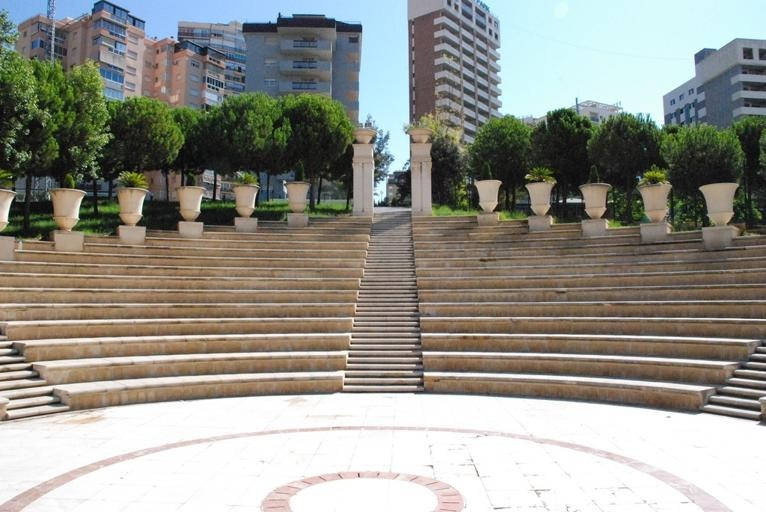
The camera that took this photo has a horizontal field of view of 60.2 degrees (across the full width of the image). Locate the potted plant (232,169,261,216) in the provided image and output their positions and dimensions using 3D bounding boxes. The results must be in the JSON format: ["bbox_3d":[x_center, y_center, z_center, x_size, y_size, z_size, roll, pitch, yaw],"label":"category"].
[{"bbox_3d":[-5.701,-2.559,27.482,1.126,1.790,1.079,0,-5,15],"label":"potted plant"}]

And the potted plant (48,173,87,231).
[{"bbox_3d":[-11.338,-1.946,23.878,0.969,2.107,3.633,-1,2,-24],"label":"potted plant"}]

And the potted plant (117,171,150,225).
[{"bbox_3d":[-9.233,-2.072,24.576,1.014,1.975,0.977,-3,-7,39],"label":"potted plant"}]

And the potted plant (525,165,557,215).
[{"bbox_3d":[6.350,-2.509,26.660,1.034,1.945,1.179,-14,14,-35],"label":"potted plant"}]

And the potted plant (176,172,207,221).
[{"bbox_3d":[-7.566,-2.008,26.008,1.143,1.428,1.217,-2,-7,26],"label":"potted plant"}]
